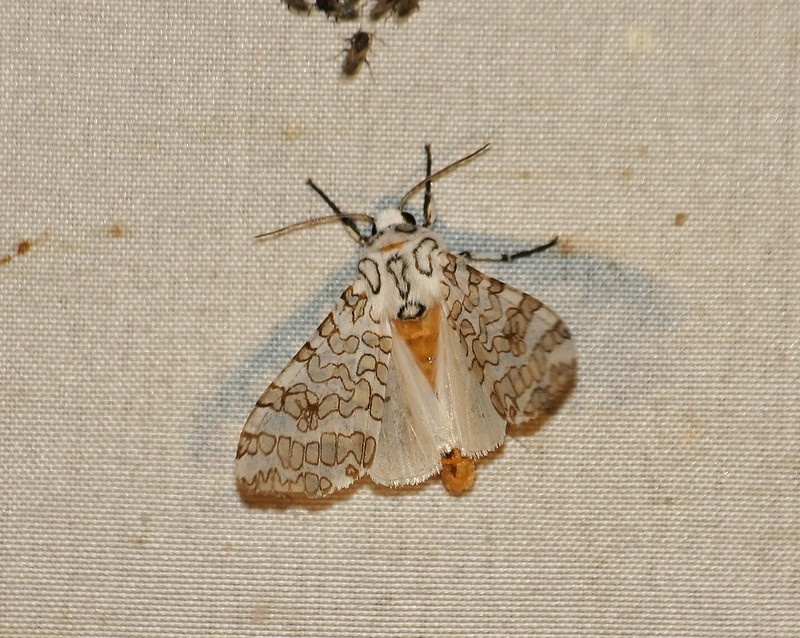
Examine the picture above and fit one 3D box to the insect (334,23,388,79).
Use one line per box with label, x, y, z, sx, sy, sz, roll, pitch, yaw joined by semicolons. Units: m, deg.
insect;-0.145;-1.090;6.016;0.173;0.236;0.074;31;88;-9
